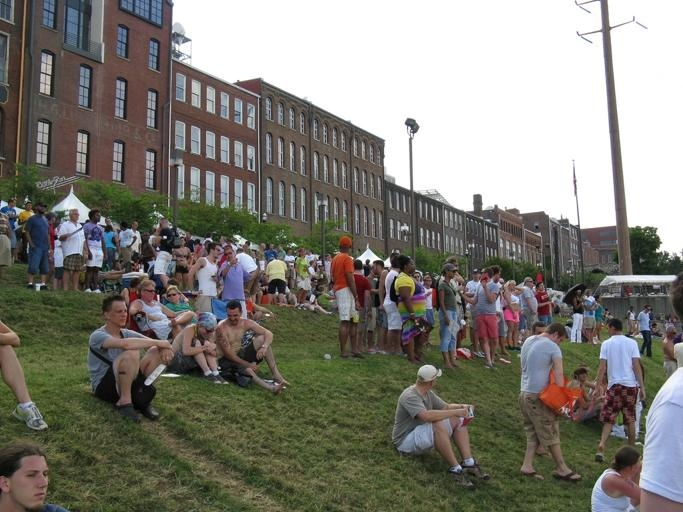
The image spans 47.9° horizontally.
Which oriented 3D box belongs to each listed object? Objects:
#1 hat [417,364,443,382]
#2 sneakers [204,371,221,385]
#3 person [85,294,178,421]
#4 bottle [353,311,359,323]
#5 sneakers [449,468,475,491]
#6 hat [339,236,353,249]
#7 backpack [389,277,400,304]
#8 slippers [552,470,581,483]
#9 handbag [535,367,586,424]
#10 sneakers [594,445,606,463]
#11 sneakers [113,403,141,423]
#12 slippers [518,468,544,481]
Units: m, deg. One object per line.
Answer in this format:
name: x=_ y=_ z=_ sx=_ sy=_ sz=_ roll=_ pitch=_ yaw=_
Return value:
hat: x=1.552 y=2.085 z=13.623 sx=0.349 sy=0.221 sz=0.265 roll=-22 pitch=30 yaw=-29
sneakers: x=-2.427 y=2.284 z=14.501 sx=0.332 sy=0.146 sz=0.144 roll=12 pitch=11 yaw=38
person: x=-3.492 y=1.648 z=12.580 sx=1.313 sy=1.989 sz=0.833 roll=4 pitch=-3 yaw=-6
bottle: x=0.306 y=1.404 z=17.899 sx=0.146 sy=0.313 sz=0.441 roll=3 pitch=-3 yaw=-2
sneakers: x=2.095 y=3.848 z=13.358 sx=0.200 sy=0.254 sz=0.516 roll=-5 pitch=-1 yaw=-36
hat: x=0.087 y=-0.323 z=17.524 sx=0.262 sy=0.253 sz=0.459 roll=2 pitch=6 yaw=5
backpack: x=1.255 y=0.834 z=18.103 sx=0.207 sy=0.541 sz=0.346 roll=4 pitch=-3 yaw=-13
slippers: x=4.116 y=4.018 z=14.096 sx=0.420 sy=0.125 sz=0.191 roll=-2 pitch=3 yaw=22
handbag: x=4.242 y=2.738 z=14.982 sx=0.777 sy=1.239 sz=1.174 roll=-14 pitch=-23 yaw=37
sneakers: x=5.102 y=3.901 z=15.226 sx=0.126 sy=0.279 sz=0.416 roll=-5 pitch=-47 yaw=14
sneakers: x=-3.432 y=2.503 z=12.435 sx=0.396 sy=0.161 sz=0.212 roll=21 pitch=20 yaw=35
slippers: x=3.464 y=3.932 z=14.057 sx=0.425 sy=0.132 sz=0.175 roll=4 pitch=5 yaw=34
